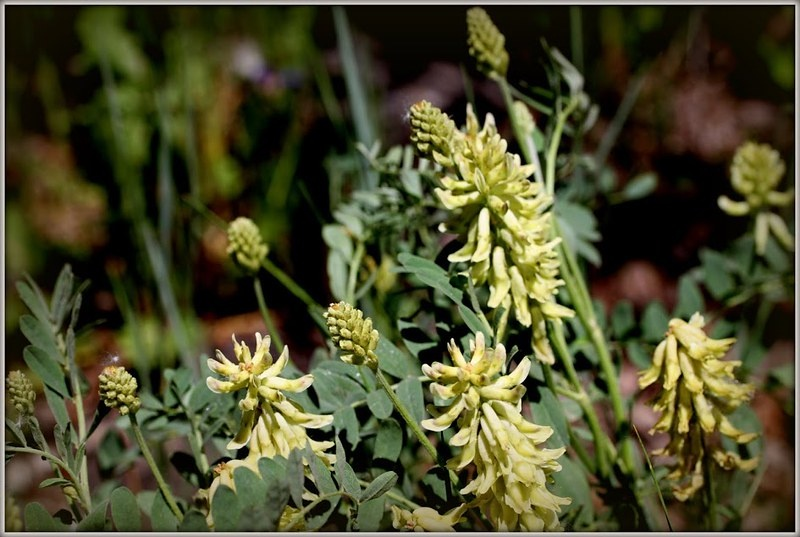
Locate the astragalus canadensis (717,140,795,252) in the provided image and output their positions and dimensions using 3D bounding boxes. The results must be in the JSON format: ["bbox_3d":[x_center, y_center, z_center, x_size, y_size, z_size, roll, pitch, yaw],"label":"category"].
[{"bbox_3d":[0.664,-0.128,1.356,0.140,0.211,0.045,-6,12,0],"label":"astragalus canadensis"}]

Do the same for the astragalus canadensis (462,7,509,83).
[{"bbox_3d":[0.164,-0.381,1.239,0.052,0.118,0.117,4,16,38],"label":"astragalus canadensis"}]

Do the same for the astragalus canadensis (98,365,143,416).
[{"bbox_3d":[-0.399,0.169,1.033,0.048,0.070,0.087,-11,13,-24],"label":"astragalus canadensis"}]

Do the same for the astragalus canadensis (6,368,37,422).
[{"bbox_3d":[-0.556,0.187,1.064,0.048,0.075,0.027,-3,13,15],"label":"astragalus canadensis"}]

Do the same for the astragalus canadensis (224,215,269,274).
[{"bbox_3d":[-0.232,-0.035,1.113,0.059,0.084,0.029,-9,13,-12],"label":"astragalus canadensis"}]
